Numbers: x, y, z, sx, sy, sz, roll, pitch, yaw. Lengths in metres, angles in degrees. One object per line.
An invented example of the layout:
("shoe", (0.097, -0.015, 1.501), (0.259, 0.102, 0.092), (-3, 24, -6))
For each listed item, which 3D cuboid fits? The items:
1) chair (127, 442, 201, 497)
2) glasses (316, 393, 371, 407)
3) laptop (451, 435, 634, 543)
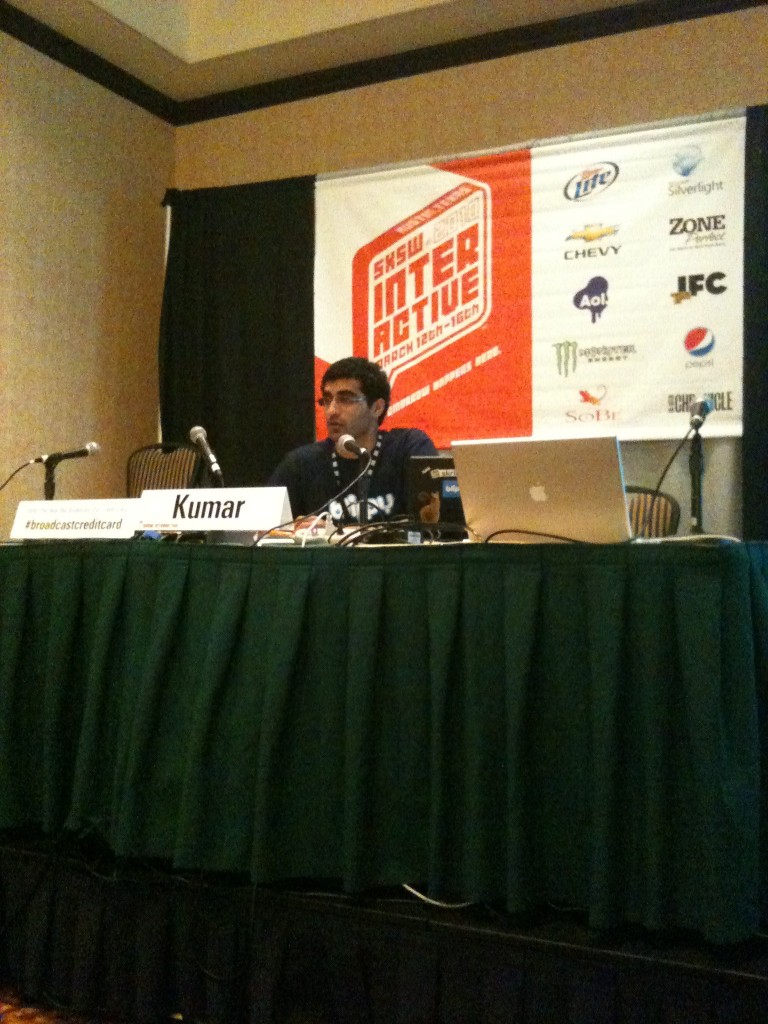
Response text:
("chair", (-0.807, -0.160, 4.070), (0.149, 0.190, 0.444), (0, 0, -43))
("glasses", (-0.140, -0.352, 3.461), (0.159, 0.041, 0.107), (0, 0, 17))
("laptop", (0.262, -0.039, 1.820), (0.245, 0.168, 0.179), (-3, 22, 32))
